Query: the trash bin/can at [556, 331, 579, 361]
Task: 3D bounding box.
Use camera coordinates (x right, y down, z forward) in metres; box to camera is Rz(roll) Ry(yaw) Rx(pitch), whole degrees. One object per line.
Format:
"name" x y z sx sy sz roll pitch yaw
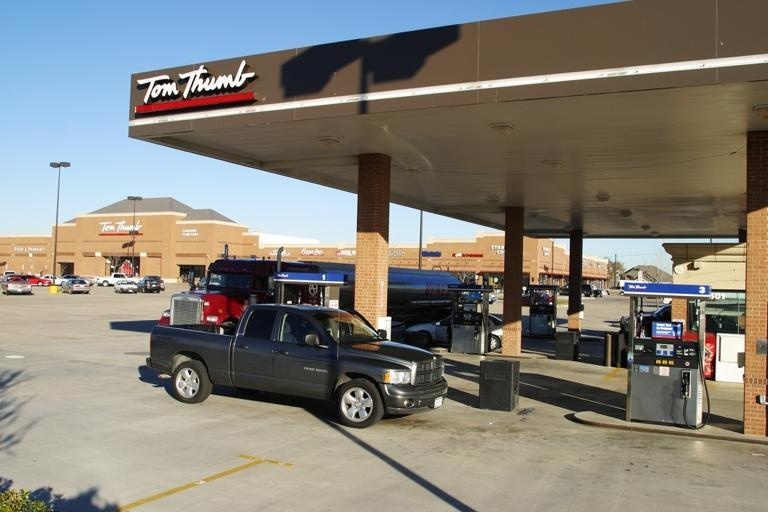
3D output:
"trash bin/can" 7.382 3.576 25.908 0.855 1.086 0.906 2 -2 14

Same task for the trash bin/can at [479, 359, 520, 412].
"trash bin/can" 2.950 3.284 16.458 0.964 1.239 0.414 2 -2 5

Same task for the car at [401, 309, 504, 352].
"car" 3.150 3.325 28.779 3.902 1.192 1.719 2 0 15

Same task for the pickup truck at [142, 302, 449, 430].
"pickup truck" -2.110 2.519 16.292 6.904 2.319 2.854 -1 -2 24

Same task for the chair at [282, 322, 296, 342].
"chair" -2.290 1.834 15.432 0.361 0.461 0.400 1 -3 -10
